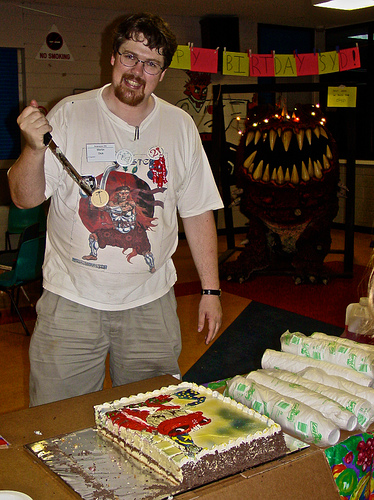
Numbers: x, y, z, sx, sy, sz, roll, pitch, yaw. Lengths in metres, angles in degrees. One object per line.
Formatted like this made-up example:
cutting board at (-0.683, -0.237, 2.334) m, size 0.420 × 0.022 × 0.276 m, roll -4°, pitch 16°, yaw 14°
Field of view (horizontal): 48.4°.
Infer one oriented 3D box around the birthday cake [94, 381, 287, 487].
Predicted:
birthday cake at (-0.011, 0.389, 0.939) m, size 0.305 × 0.105 × 0.404 m, roll -4°, pitch 2°, yaw -35°

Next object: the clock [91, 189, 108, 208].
clock at (-0.240, -0.142, 1.134) m, size 0.044 × 0.038 × 0.027 m, roll -2°, pitch 2°, yaw 34°

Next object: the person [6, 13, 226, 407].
person at (-0.201, -0.142, 1.474) m, size 0.849 × 1.056 × 0.492 m, roll -4°, pitch 2°, yaw -37°

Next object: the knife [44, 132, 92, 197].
knife at (-0.383, -0.271, 1.323) m, size 0.040 × 0.280 × 0.066 m, roll -42°, pitch 13°, yaw 2°
